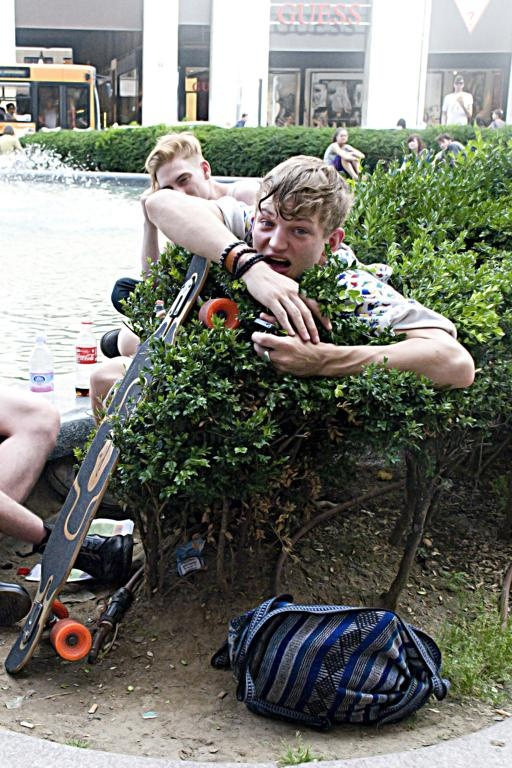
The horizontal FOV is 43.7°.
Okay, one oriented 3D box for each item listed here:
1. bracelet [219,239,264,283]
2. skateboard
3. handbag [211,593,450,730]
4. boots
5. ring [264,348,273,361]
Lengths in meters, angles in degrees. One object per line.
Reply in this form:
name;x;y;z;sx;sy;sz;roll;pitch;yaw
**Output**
bracelet;-0.055;-0.396;2.078;0.119;0.051;0.130;-34;-21;-6
skateboard;-0.518;0.338;2.382;0.257;2.127;0.312;19;7;-38
handbag;0.199;0.686;1.641;0.457;0.161;0.341;-1;-5;17
boots;-0.663;0.688;2.383;0.198;0.579;0.263;38;5;33
ring;0.035;-0.085;1.879;0.011;0.028;0.021;-10;-7;-23
